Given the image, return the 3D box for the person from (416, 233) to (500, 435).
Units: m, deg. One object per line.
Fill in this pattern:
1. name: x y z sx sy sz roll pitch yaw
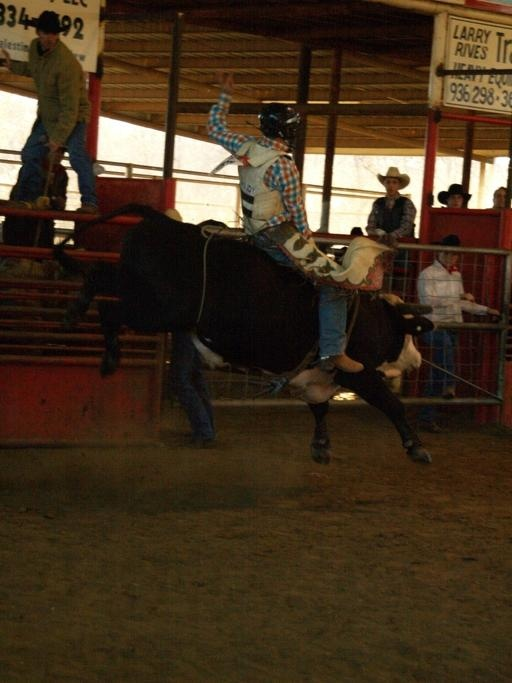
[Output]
1. person: 2.094 -0.196 7.218 0.679 1.694 0.645 4 9 44

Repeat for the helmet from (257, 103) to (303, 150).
1. helmet: 0.104 -1.304 4.167 0.257 0.236 0.281 15 19 25

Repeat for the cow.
1. cow: -0.038 0.026 4.378 1.966 1.490 0.733 2 1 -34

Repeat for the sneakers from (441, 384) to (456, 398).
1. sneakers: 1.994 0.529 7.137 0.131 0.126 0.160 6 -7 -37

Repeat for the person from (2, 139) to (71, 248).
1. person: -1.837 -1.211 5.724 0.479 0.772 0.788 3 0 -16

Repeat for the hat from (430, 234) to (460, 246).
1. hat: 2.068 -1.097 7.638 0.393 0.126 0.232 0 0 8
